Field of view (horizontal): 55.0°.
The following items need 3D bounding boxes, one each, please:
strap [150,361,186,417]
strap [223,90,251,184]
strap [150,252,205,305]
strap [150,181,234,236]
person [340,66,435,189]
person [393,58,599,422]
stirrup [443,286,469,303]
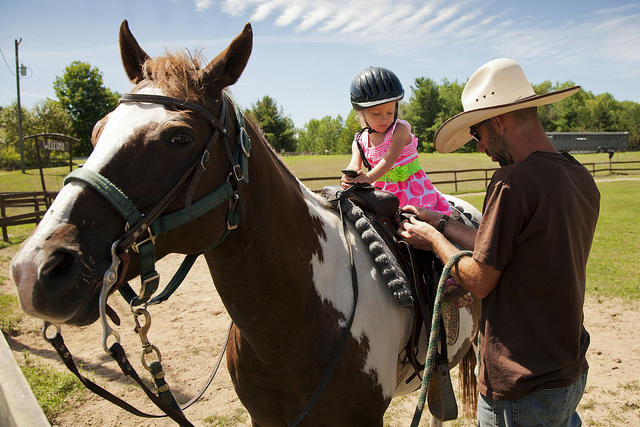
[{"bbox_3d":[-1.295,1.543,5.199,0.151,0.656,0.066,-23,22,-19],"label":"strap"},{"bbox_3d":[-0.690,-0.667,5.290,0.177,0.799,0.321,-6,9,-17],"label":"strap"},{"bbox_3d":[-1.214,0.517,5.210,0.476,0.366,0.238,-7,10,-17],"label":"strap"},{"bbox_3d":[-1.045,-0.042,5.026,0.703,0.345,0.055,-9,10,-23],"label":"strap"},{"bbox_3d":[0.764,-0.830,6.840,1.115,1.666,0.797,-16,16,-41],"label":"person"},{"bbox_3d":[1.693,0.296,5.428,1.375,3.295,0.797,1,10,27],"label":"person"},{"bbox_3d":[1.301,0.779,5.937,0.268,0.099,0.112,-33,-4,14],"label":"stirrup"}]
